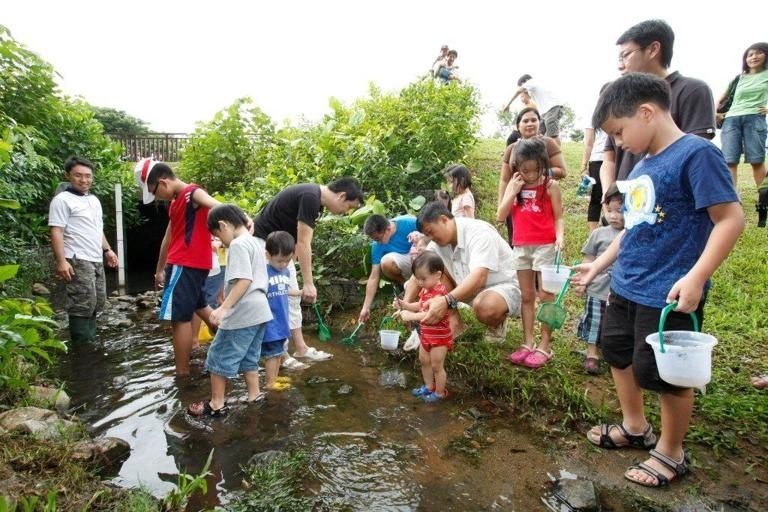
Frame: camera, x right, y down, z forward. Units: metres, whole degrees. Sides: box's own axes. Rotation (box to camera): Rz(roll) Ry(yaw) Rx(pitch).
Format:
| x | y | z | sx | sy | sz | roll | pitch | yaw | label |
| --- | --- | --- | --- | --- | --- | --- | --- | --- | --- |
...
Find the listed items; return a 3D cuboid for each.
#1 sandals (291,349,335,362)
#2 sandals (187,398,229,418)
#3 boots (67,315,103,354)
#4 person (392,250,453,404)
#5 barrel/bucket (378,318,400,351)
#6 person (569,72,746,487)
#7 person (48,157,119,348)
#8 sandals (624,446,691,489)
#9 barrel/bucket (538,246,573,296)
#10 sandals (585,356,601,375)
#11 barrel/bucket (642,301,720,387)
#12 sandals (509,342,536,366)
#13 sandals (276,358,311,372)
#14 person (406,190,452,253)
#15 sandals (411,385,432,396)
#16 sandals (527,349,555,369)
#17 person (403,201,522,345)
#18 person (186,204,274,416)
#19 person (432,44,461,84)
| x | y | z | sx | sy | sz | roll | pitch | yaw | label |
| --- | --- | --- | --- | --- | --- | --- | --- | --- | --- |
| -0.803 | 1.099 | 5.828 | 0.453 | 0.125 | 0.161 | 0 | 6 | 5 | sandals |
| -1.599 | 1.381 | 4.672 | 0.385 | 0.150 | 0.133 | 7 | -11 | -7 | sandals |
| -3.594 | 0.934 | 6.115 | 0.196 | 0.493 | 0.404 | 1 | 6 | 18 | boots |
| 0.378 | 0.651 | 4.835 | 0.527 | 1.409 | 0.648 | 1 | 3 | 4 | person |
| 0.053 | 0.827 | 5.474 | 0.322 | 0.231 | 0.324 | 2 | 1 | 0 | barrel/bucket |
| 1.990 | 0.194 | 3.714 | 1.002 | 2.999 | 0.556 | 2 | 4 | 33 | person |
| -3.707 | -0.088 | 6.247 | 0.470 | 2.211 | 0.726 | 0 | 3 | 0 | person |
| 2.057 | 1.564 | 3.856 | 0.465 | 0.175 | 0.231 | -3 | 5 | -15 | sandals |
| 1.484 | 0.161 | 4.676 | 0.385 | 0.496 | 0.368 | 1 | 1 | 0 | barrel/bucket |
| 1.958 | 1.024 | 4.771 | 0.106 | 0.085 | 0.172 | 4 | 7 | 8 | sandals |
| 2.029 | 0.620 | 3.508 | 0.422 | 0.617 | 0.321 | 1 | 3 | 14 | barrel/bucket |
| 1.341 | 0.941 | 4.989 | 0.304 | 0.118 | 0.117 | -19 | -10 | -42 | sandals |
| -1.002 | 1.158 | 5.602 | 0.370 | 0.094 | 0.144 | 0 | 8 | 32 | sandals |
| 0.581 | -0.444 | 6.204 | 0.248 | 0.817 | 0.482 | 27 | -23 | -30 | person |
| 0.363 | 1.297 | 4.962 | 0.092 | 0.062 | 0.160 | -1 | 3 | -43 | sandals |
| 1.490 | 0.971 | 4.931 | 0.172 | 0.163 | 0.250 | 3 | 4 | 43 | sandals |
| 0.769 | 0.205 | 5.209 | 1.418 | 1.372 | 1.061 | -2 | 7 | 2 | person |
| -1.371 | 0.466 | 4.653 | 0.670 | 1.905 | 0.505 | 0 | 3 | -14 | person |
| 1.390 | -4.213 | 11.314 | 0.484 | 1.019 | 0.932 | 1 | 3 | 8 | person |
